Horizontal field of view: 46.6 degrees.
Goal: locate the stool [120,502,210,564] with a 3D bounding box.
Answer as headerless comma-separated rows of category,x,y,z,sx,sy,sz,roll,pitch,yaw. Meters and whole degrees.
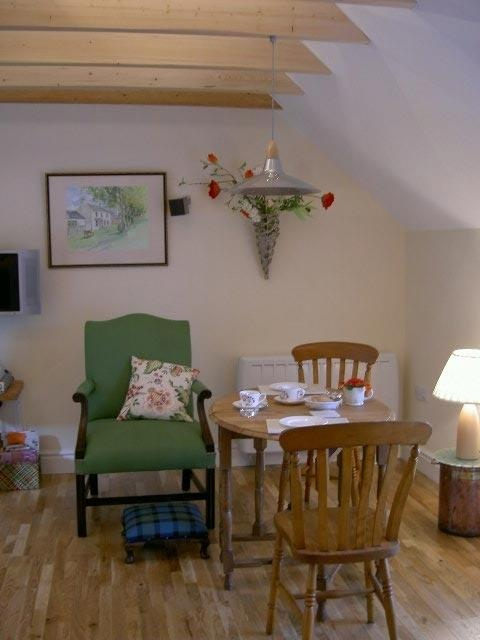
stool,-0.358,0.974,2.589,0.375,0.169,0.351,0,2,-14

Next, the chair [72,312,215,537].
chair,-0.521,0.511,2.951,0.666,1.059,0.843,0,2,-12

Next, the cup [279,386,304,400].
cup,0.223,0.304,2.335,0.072,0.048,0.061,0,-1,2

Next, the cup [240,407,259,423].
cup,0.034,0.348,2.099,0.069,0.034,0.062,0,2,-5

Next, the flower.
flower,0.082,-0.787,3.564,0.891,0.327,0.567,8,11,10

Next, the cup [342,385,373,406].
cup,0.493,0.320,2.332,0.117,0.079,0.076,1,-2,-5

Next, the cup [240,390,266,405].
cup,0.051,0.299,2.154,0.085,0.060,0.066,2,0,-9

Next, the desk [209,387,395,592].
desk,0.156,0.651,2.321,0.753,0.746,0.750,0,4,-7
